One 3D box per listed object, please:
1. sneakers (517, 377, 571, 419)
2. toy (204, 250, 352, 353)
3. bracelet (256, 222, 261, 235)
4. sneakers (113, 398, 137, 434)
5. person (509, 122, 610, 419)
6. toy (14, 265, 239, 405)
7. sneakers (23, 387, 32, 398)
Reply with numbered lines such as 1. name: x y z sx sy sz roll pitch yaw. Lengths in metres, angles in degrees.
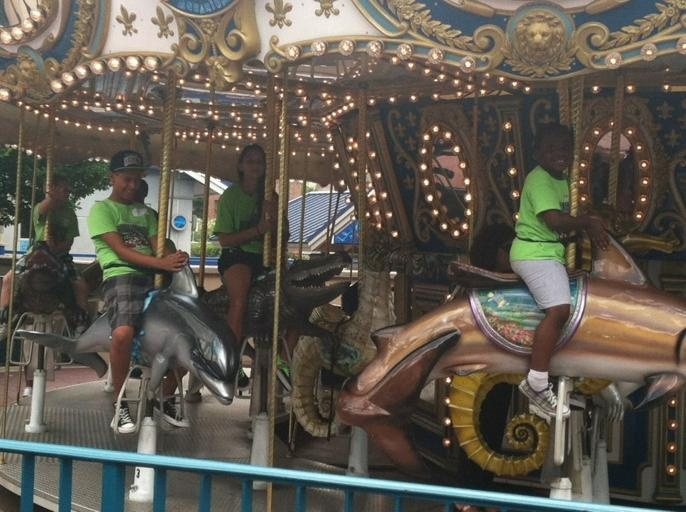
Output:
1. sneakers: 1.467 1.051 8.082 0.279 0.297 0.213 2 -7 6
2. toy: -0.664 0.400 9.941 1.305 0.695 0.694 -11 -14 30
3. bracelet: -0.741 -0.265 9.494 0.024 0.100 0.094 8 9 -9
4. sneakers: -1.818 1.322 8.969 0.140 0.203 0.343 2 -8 -25
5. person: 1.591 0.082 8.092 0.672 2.201 0.281 0 -8 19
6. toy: -1.557 0.604 8.883 1.534 1.100 0.472 -2 -9 34
7. sneakers: -3.507 1.483 11.983 0.090 0.114 0.266 7 -2 -18
